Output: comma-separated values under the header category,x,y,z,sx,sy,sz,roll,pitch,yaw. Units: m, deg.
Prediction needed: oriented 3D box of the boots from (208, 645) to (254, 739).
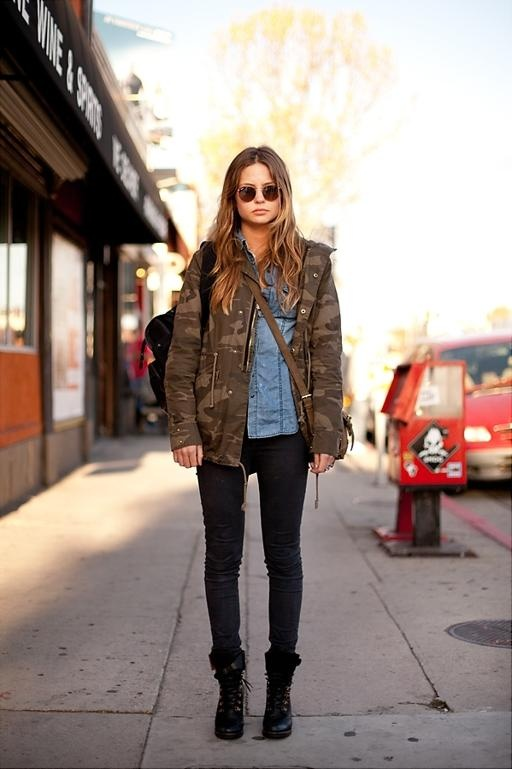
category,x,y,z,sx,sy,sz,roll,pitch,yaw
boots,-0.083,0.925,2.375,0.114,0.180,0.324,-5,8,3

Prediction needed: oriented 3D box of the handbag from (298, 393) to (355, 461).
category,x,y,z,sx,sy,sz,roll,pitch,yaw
handbag,0.234,0.123,2.460,0.228,0.208,0.159,-1,3,-13

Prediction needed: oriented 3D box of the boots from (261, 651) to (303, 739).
category,x,y,z,sx,sy,sz,roll,pitch,yaw
boots,0.073,0.922,2.355,0.105,0.258,0.238,0,0,3

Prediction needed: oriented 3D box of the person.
category,x,y,z,sx,sy,sz,roll,pitch,yaw
person,0.003,0.133,2.372,0.538,1.775,0.288,0,0,6
